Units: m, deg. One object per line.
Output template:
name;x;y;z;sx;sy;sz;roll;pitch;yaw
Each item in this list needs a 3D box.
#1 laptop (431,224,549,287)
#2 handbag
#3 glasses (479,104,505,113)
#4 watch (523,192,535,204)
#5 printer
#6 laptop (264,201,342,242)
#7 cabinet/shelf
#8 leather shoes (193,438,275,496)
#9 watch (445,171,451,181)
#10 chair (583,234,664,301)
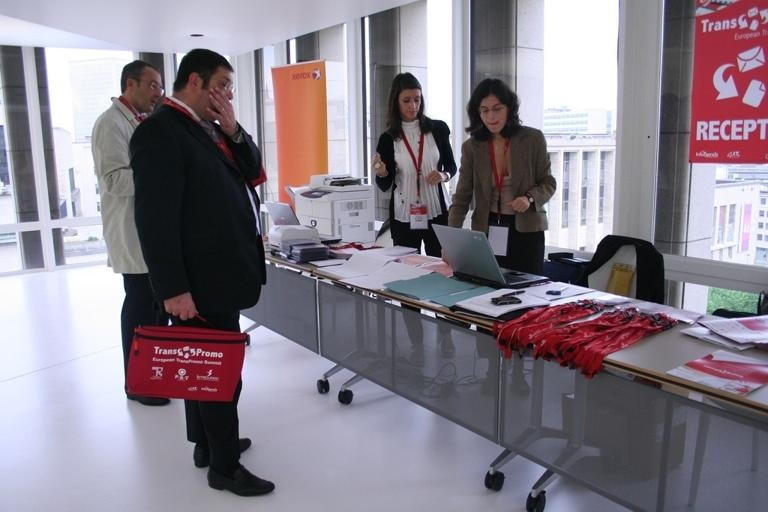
laptop;0.629;-0.029;3.503;0.320;0.485;0.474;-34;29;-28
handbag;-1.107;0.560;3.106;0.679;0.455;0.157;5;7;4
glasses;0.743;-1.006;3.810;0.168;0.053;0.037;0;11;19
watch;0.986;-0.396;3.787;0.057;0.082;0.030;-18;1;-36
printer;-0.529;-0.505;5.478;0.684;0.886;0.626;-8;12;-40
laptop;-0.698;-0.360;4.705;0.418;0.293;0.469;-8;11;-37
cabinet/shelf;-0.435;-0.477;5.320;0.615;0.811;0.581;-6;9;-39
leather shoes;-0.979;1.325;3.443;0.664;0.298;0.215;4;8;27
watch;0.498;-0.611;4.312;0.031;0.058;0.077;-4;23;32
chair;1.673;0.093;3.859;0.198;0.354;0.363;-18;26;-38
